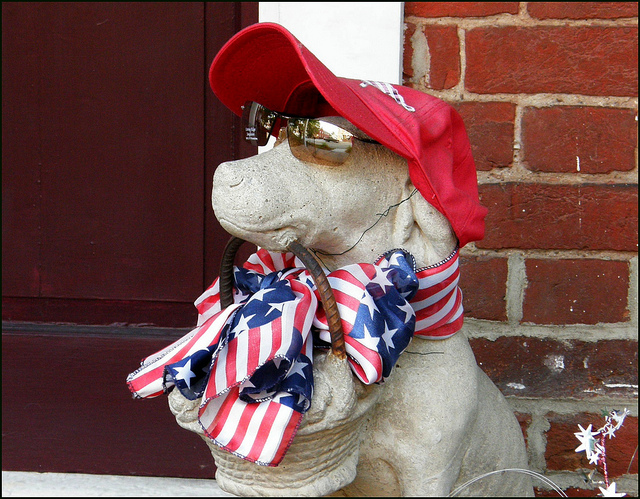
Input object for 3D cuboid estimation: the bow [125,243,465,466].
[{"bbox_3d":[-0.042,0.195,2.365,0.632,0.200,0.454,-26,36,-31],"label":"bow"}]
